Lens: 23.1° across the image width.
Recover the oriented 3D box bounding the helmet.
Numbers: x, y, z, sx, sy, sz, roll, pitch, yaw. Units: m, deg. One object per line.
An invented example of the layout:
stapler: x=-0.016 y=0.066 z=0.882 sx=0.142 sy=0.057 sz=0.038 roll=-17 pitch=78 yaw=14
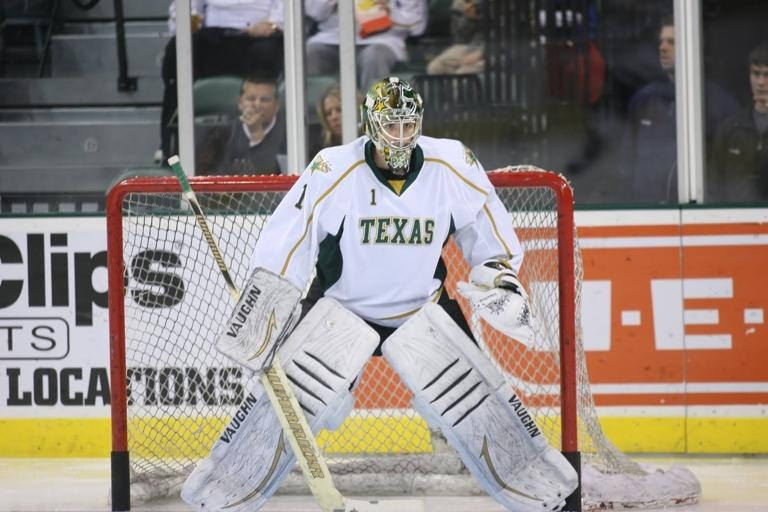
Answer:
helmet: x=0.043 y=-0.857 z=11.725 sx=0.412 sy=0.531 sz=0.552 roll=-1 pitch=16 yaw=-9
